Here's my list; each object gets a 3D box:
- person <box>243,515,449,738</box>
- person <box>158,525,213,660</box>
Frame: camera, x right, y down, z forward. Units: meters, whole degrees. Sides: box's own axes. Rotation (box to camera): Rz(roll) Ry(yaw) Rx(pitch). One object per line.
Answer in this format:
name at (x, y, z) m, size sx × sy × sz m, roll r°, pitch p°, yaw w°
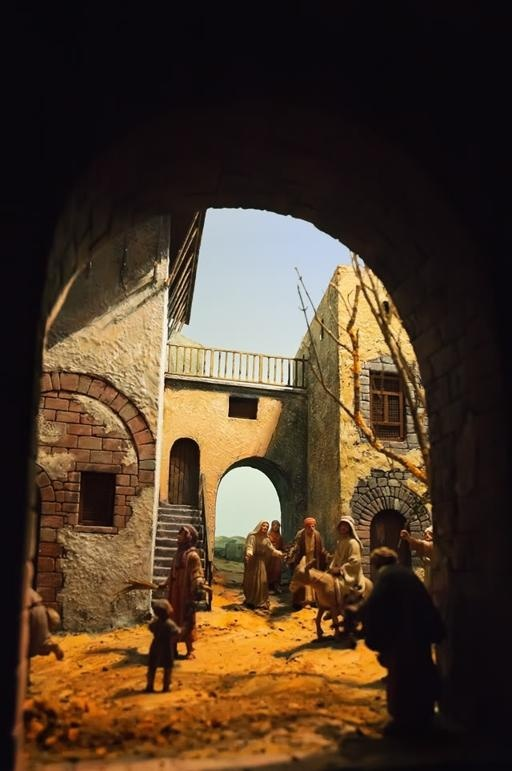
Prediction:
person at (0.894, 1.510, 4.034) m, size 0.443 × 1.197 × 0.459 m, roll -1°, pitch -4°, yaw 25°
person at (-0.740, 2.241, 6.859) m, size 0.616 × 1.294 × 0.647 m, roll 2°, pitch -3°, yaw -12°
